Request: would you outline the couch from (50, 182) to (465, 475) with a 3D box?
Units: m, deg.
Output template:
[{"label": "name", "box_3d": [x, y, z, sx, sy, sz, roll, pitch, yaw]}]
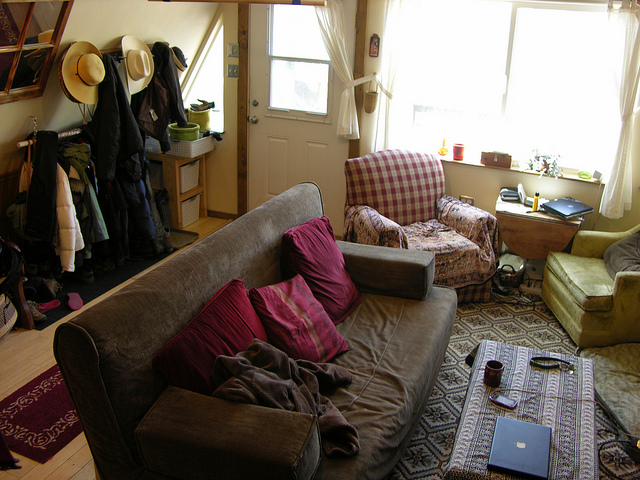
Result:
[{"label": "couch", "box_3d": [-0.124, 0.421, 2.476, 1.321, 0.894, 1.872, 9, 20, 24]}]

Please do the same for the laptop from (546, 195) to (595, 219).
[{"label": "laptop", "box_3d": [2.064, -0.271, 3.960, 0.343, 0.089, 0.227, -9, 20, -27]}]

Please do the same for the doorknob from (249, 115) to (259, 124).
[{"label": "doorknob", "box_3d": [-0.670, -1.233, 4.868, 0.066, 0.081, 0.066, -3, 12, 13]}]

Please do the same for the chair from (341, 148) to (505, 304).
[{"label": "chair", "box_3d": [0.823, -0.120, 3.960, 1.117, 1.284, 0.999, -3, 11, -9]}]

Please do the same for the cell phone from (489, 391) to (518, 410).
[{"label": "cell phone", "box_3d": [0.920, 0.800, 2.379, 0.126, 0.025, 0.085, 16, 23, 38]}]

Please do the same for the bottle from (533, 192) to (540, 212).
[{"label": "bottle", "box_3d": [1.820, -0.333, 3.997, 0.038, 0.152, 0.096, 7, 17, 22]}]

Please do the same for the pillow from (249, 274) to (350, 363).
[{"label": "pillow", "box_3d": [-0.142, 0.434, 2.576, 0.540, 0.166, 0.536, 51, 27, 22]}]

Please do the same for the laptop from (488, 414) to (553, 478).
[{"label": "laptop", "box_3d": [0.916, 0.924, 2.158, 0.240, 0.068, 0.355, 11, 21, 28]}]
